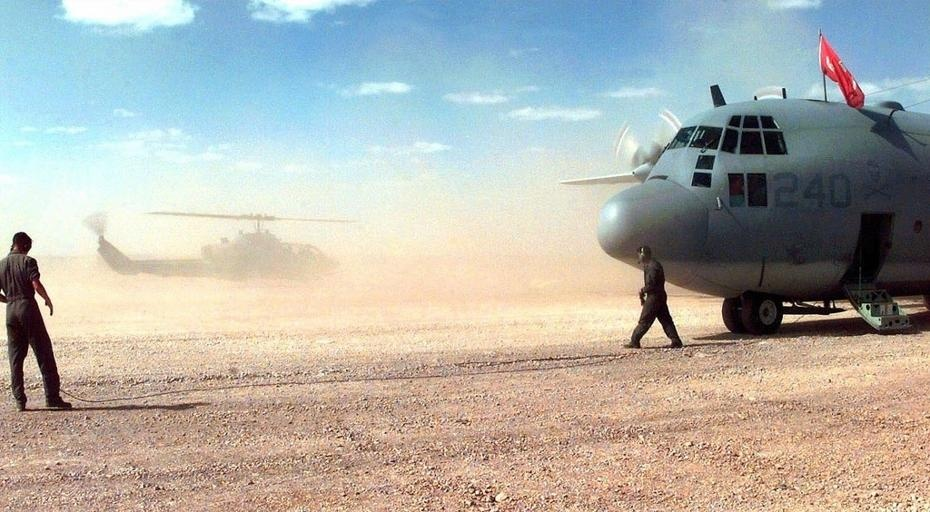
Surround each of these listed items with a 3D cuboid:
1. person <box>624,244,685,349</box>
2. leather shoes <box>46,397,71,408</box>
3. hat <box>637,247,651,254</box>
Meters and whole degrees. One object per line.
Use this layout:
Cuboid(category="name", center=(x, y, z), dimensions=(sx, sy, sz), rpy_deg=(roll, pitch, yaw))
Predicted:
Cuboid(category="person", center=(4.592, 0.946, 18.024), dimensions=(1.732, 2.248, 0.796), rpy_deg=(0, 0, 2))
Cuboid(category="leather shoes", center=(-7.845, 2.856, 14.401), dimensions=(0.492, 0.167, 0.171), rpy_deg=(2, 2, -12))
Cuboid(category="hat", center=(4.240, -0.154, 17.540), dimensions=(0.299, 0.178, 0.242), rpy_deg=(-2, 2, 7))
